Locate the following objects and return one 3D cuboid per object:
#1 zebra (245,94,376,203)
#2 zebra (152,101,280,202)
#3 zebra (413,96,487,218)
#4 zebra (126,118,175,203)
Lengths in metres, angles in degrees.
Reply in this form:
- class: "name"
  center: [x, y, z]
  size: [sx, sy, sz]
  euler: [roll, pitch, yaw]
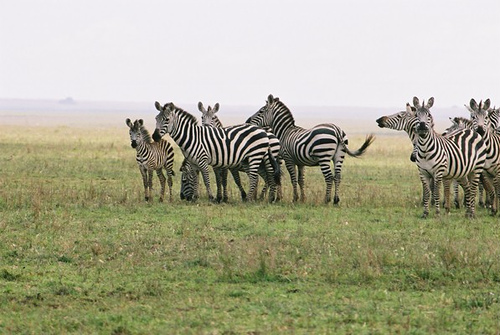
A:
- class: "zebra"
  center: [1.772, -0.507, 23.179]
  size: [4.481, 3.239, 1.146]
  euler: [3, 4, 41]
- class: "zebra"
  center: [-1.024, -0.385, 22.373]
  size: [3.832, 2.869, 1.099]
  euler: [4, 0, -19]
- class: "zebra"
  center: [5.201, -0.108, 20.532]
  size: [1.182, 3.150, 3.808]
  euler: [-1, -5, 41]
- class: "zebra"
  center: [-2.832, -0.241, 22.155]
  size: [1.263, 2.371, 1.949]
  euler: [1, 8, 2]
